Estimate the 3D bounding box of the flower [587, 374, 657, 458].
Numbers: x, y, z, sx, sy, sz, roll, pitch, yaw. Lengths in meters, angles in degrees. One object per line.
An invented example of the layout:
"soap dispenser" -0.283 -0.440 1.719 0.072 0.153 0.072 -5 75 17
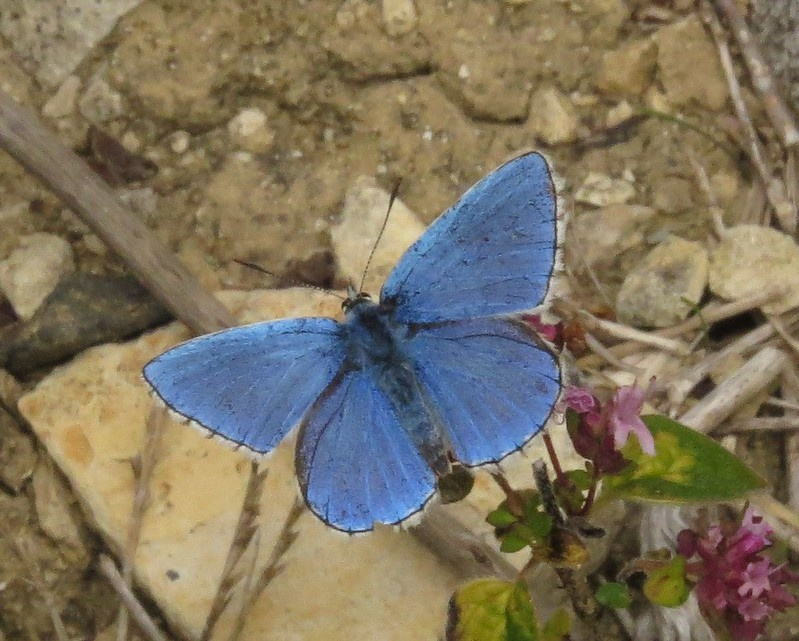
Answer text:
"flower" 0.909 0.412 6.761 0.191 0.178 0.279 -9 80 -2
